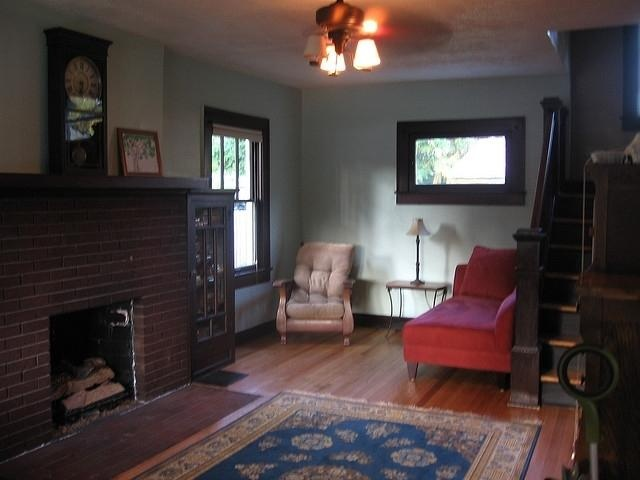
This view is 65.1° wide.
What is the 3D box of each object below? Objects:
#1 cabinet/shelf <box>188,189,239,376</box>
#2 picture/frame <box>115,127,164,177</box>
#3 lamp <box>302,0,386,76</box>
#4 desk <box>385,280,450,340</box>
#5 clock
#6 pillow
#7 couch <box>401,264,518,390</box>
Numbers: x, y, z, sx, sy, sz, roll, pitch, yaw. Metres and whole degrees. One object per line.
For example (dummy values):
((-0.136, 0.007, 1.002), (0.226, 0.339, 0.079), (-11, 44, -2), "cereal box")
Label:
((-1.029, 0.385, 4.735), (0.153, 1.711, 0.635), (2, 6, 22), "cabinet/shelf")
((-1.485, -0.721, 4.140), (0.024, 0.383, 0.415), (-3, 5, 28), "picture/frame")
((0.158, -1.388, 3.423), (0.483, 0.486, 0.857), (1, 6, 6), "lamp")
((1.149, 0.792, 6.080), (0.613, 0.584, 0.433), (3, 11, 27), "desk")
((-1.755, -0.984, 3.662), (0.185, 1.001, 0.462), (3, 7, 30), "clock")
((1.753, 0.345, 5.163), (0.471, 0.529, 0.214), (2, -12, 33), "pillow")
((1.598, 0.780, 4.992), (1.018, 0.923, 1.678), (1, 4, 28), "couch")
